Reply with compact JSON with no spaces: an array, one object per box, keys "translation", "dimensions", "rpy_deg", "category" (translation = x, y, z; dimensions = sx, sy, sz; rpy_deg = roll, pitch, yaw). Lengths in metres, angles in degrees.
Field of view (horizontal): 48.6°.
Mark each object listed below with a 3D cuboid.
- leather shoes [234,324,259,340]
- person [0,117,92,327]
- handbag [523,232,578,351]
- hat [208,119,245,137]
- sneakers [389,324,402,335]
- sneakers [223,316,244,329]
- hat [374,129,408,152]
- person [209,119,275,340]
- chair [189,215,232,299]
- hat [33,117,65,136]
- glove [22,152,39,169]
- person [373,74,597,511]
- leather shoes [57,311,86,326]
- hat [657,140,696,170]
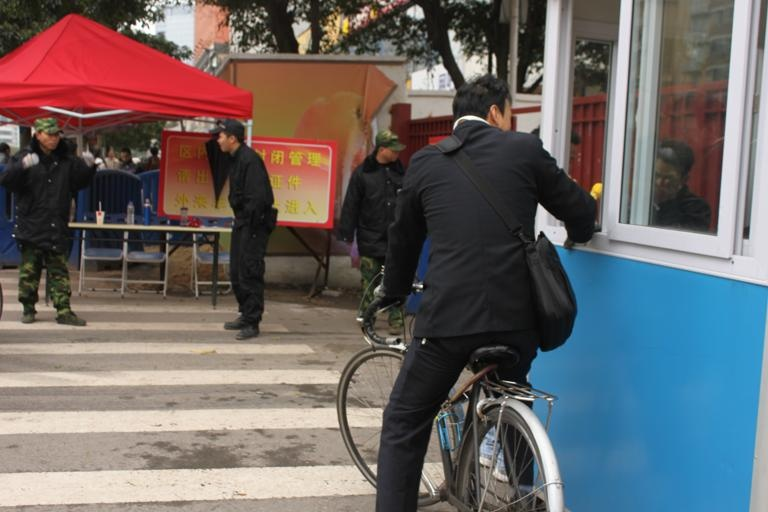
[{"translation":[-1.605,0.887,9.909],"dimensions":[0.113,0.126,0.302],"rpy_deg":[1,-5,23],"category":"leather shoes"},{"translation":[-4.011,-0.412,10.125],"dimensions":[0.913,2.444,0.687],"rpy_deg":[2,5,1],"category":"person"},{"translation":[0.972,0.218,4.977],"dimensions":[0.300,0.697,0.185],"rpy_deg":[3,5,16],"category":"handbag"},{"translation":[-1.862,-1.513,9.903],"dimensions":[0.403,0.216,0.281],"rpy_deg":[16,6,-5],"category":"hat"},{"translation":[0.130,0.856,9.929],"dimensions":[0.122,0.090,0.122],"rpy_deg":[-1,1,-2],"category":"sneakers"},{"translation":[-1.802,0.805,10.292],"dimensions":[0.351,0.150,0.128],"rpy_deg":[3,3,7],"category":"sneakers"},{"translation":[0.077,-1.416,10.434],"dimensions":[0.402,0.209,0.283],"rpy_deg":[3,13,5],"category":"hat"},{"translation":[-1.590,-0.317,9.890],"dimensions":[0.615,2.537,0.389],"rpy_deg":[5,6,35],"category":"person"},{"translation":[-2.487,-0.004,12.360],"dimensions":[0.564,1.020,0.629],"rpy_deg":[-1,13,-14],"category":"chair"},{"translation":[-3.958,-1.539,9.954],"dimensions":[0.309,0.160,0.231],"rpy_deg":[-2,0,38],"category":"hat"},{"translation":[-4.131,-1.125,9.912],"dimensions":[0.092,0.172,0.214],"rpy_deg":[3,5,18],"category":"glove"},{"translation":[0.572,0.243,5.175],"dimensions":[1.164,2.703,0.604],"rpy_deg":[2,5,-1],"category":"person"},{"translation":[-3.749,0.747,10.188],"dimensions":[0.323,0.137,0.162],"rpy_deg":[0,1,8],"category":"leather shoes"},{"translation":[1.793,-0.628,5.205],"dimensions":[0.149,0.189,0.190],"rpy_deg":[-5,28,-43],"category":"hat"}]
